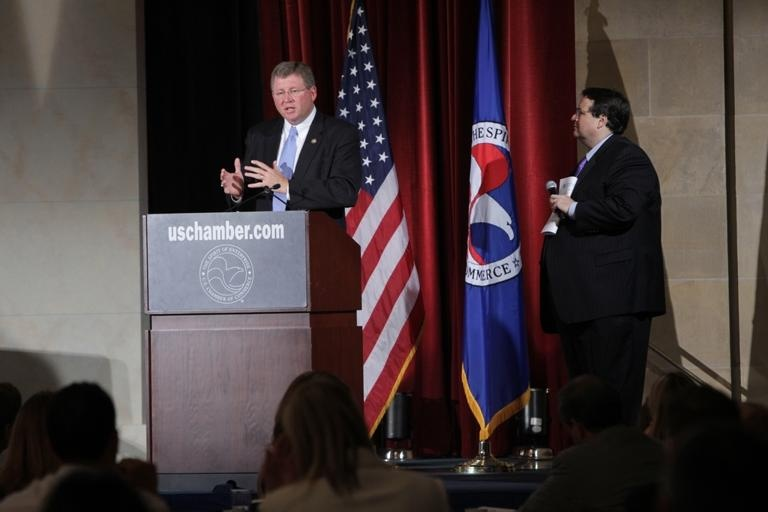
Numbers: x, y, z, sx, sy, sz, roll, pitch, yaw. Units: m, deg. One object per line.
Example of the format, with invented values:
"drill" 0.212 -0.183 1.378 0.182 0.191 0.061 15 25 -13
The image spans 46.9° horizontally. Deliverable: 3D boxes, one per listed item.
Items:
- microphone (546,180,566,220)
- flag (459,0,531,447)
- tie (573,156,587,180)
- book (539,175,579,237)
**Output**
"microphone" 1.154 -0.373 5.944 0.086 0.095 0.358 16 37 -19
"flag" 0.712 -0.303 6.258 0.494 3.091 0.480 -3 3 -28
"tie" 1.314 -0.584 5.913 0.035 0.135 0.100 16 12 -5
"book" 1.183 -0.328 5.976 0.178 0.550 0.159 4 -32 35
